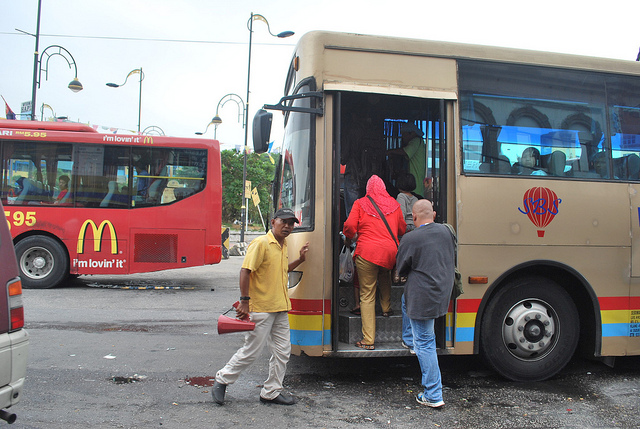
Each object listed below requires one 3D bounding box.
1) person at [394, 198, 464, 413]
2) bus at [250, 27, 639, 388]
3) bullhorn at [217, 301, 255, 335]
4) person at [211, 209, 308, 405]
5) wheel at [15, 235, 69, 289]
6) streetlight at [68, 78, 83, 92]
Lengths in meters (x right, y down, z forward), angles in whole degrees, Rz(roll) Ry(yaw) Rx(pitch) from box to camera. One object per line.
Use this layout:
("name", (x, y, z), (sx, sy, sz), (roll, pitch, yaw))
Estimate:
("person", (1.467, 1.166, 8.366), (0.764, 2.696, 0.862), (4, 7, 26))
("bus", (1.932, 0.114, 8.774), (4.800, 3.294, 1.962), (1, -2, -6))
("bullhorn", (-1.048, 1.379, 8.045), (0.503, 0.629, 0.310), (5, -20, 0))
("person", (-0.789, 1.215, 8.164), (0.980, 2.523, 0.475), (0, 6, -4))
("wheel", (-6.486, 1.084, 14.341), (1.208, 1.379, 0.444), (-6, 12, -10))
("streetlight", (-9.125, -4.860, 23.137), (0.272, 0.479, 0.445), (3, 7, 16))
